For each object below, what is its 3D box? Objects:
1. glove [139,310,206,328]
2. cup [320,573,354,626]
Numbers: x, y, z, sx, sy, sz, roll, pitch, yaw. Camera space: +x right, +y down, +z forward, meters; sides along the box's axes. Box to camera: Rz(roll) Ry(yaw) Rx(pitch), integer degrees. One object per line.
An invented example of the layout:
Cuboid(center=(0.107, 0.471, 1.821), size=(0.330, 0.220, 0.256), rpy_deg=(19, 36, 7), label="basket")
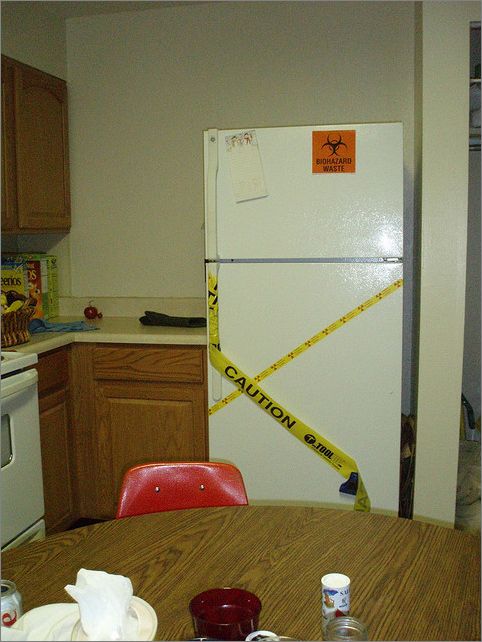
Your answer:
Cuboid(center=(-0.340, -0.009, 2.570), size=(0.408, 0.067, 0.120), rpy_deg=(0, 1, 37), label="glove")
Cuboid(center=(0.119, 0.356, 0.682), size=(0.042, 0.066, 0.041), rpy_deg=(0, 2, 0), label="cup")
